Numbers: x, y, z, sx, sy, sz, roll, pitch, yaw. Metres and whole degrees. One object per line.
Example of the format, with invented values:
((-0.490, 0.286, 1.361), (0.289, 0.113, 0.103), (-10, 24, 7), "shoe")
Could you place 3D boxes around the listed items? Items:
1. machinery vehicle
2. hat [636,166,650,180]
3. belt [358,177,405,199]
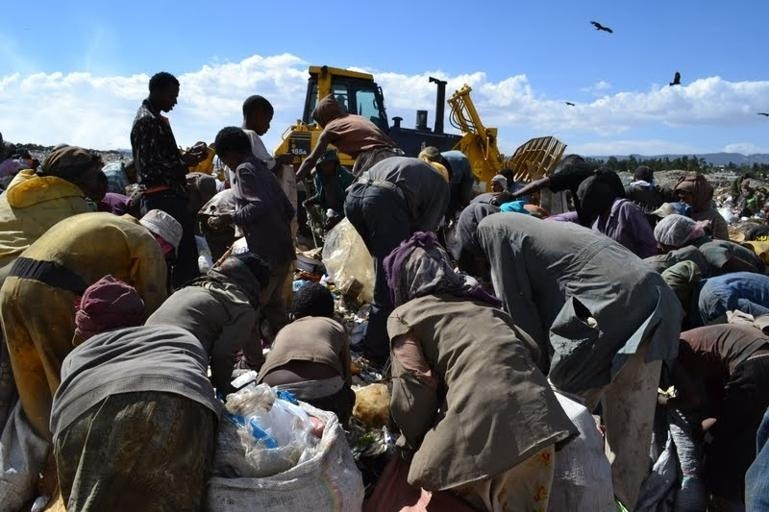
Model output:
((1.337, -2.813, 12.314), (6.649, 2.923, 3.683), (-4, 17, -15), "machinery vehicle")
((4.874, -1.552, 10.548), (0.257, 0.256, 0.260), (4, 6, 14), "hat")
((-0.059, -0.639, 5.181), (0.443, 0.195, 0.268), (7, 7, 39), "belt")
